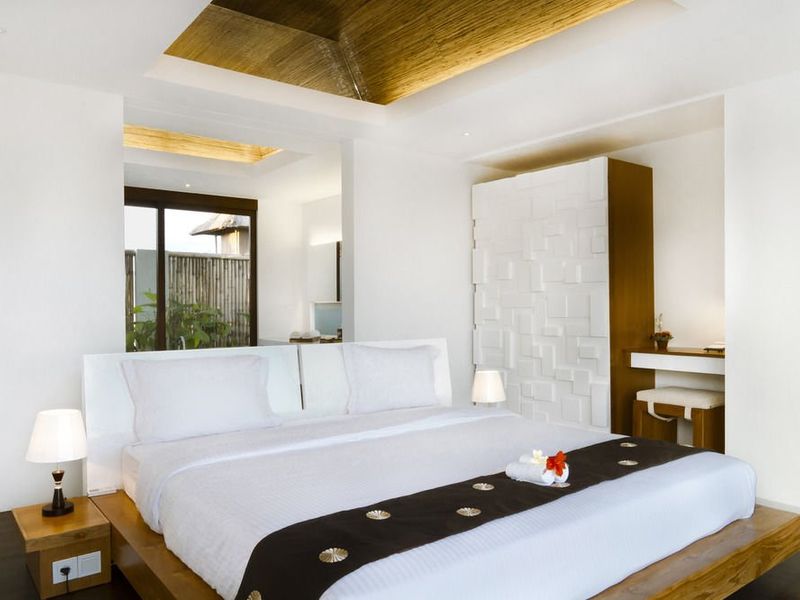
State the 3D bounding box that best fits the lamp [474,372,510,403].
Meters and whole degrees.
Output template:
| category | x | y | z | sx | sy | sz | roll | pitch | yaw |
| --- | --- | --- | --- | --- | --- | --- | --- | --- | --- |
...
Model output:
| category | x | y | z | sx | sy | sz | roll | pitch | yaw |
| --- | --- | --- | --- | --- | --- | --- | --- | --- | --- |
| lamp | 0.773 | 0.707 | 4.637 | 0.274 | 0.271 | 0.272 | -6 | 6 | -31 |
